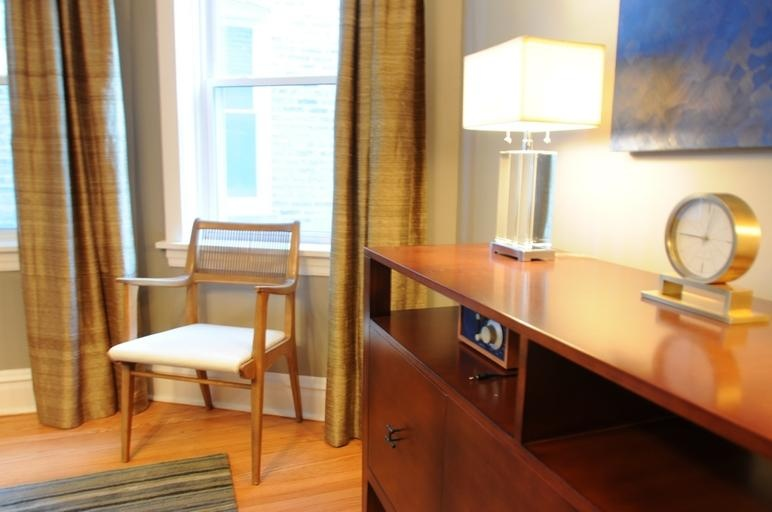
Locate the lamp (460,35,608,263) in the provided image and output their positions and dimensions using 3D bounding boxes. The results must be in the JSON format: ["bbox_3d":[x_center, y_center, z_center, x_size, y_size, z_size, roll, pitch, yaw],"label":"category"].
[{"bbox_3d":[0.451,-0.337,1.929,0.445,0.674,0.268,3,14,18],"label":"lamp"}]

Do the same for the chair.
[{"bbox_3d":[-0.776,0.382,2.776,0.727,1.052,0.658,2,13,11],"label":"chair"}]
